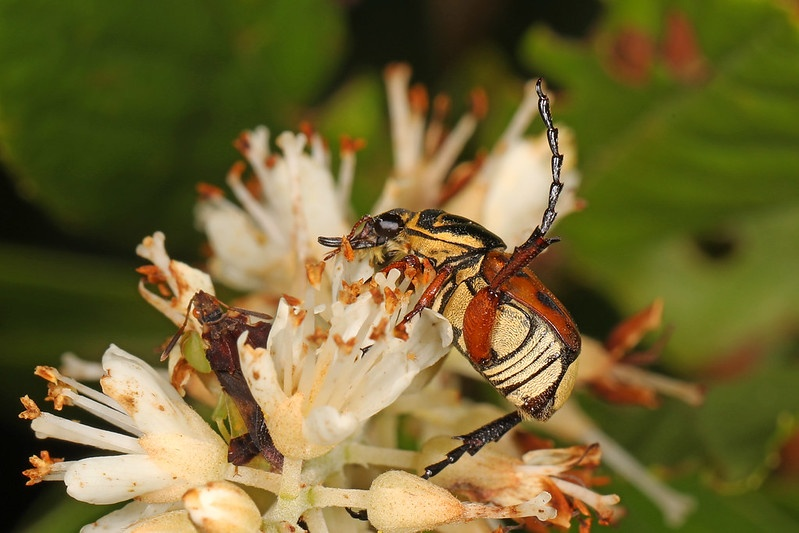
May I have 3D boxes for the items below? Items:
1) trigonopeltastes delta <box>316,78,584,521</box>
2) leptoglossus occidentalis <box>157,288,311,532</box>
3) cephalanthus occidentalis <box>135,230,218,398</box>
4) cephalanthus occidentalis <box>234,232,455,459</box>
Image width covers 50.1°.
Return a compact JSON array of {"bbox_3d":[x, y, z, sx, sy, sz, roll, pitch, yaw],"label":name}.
[{"bbox_3d":[0.136,0.056,1.716,0.505,0.810,0.495,15,31,31],"label":"trigonopeltastes delta"},{"bbox_3d":[-0.244,0.234,1.526,0.094,0.367,0.338,-17,28,-42],"label":"leptoglossus occidentalis"},{"bbox_3d":[-0.416,0.084,1.569,0.084,0.204,0.278,0,57,-50],"label":"cephalanthus occidentalis"},{"bbox_3d":[-0.096,0.151,1.452,0.354,0.147,0.280,-41,91,-15],"label":"cephalanthus occidentalis"}]
